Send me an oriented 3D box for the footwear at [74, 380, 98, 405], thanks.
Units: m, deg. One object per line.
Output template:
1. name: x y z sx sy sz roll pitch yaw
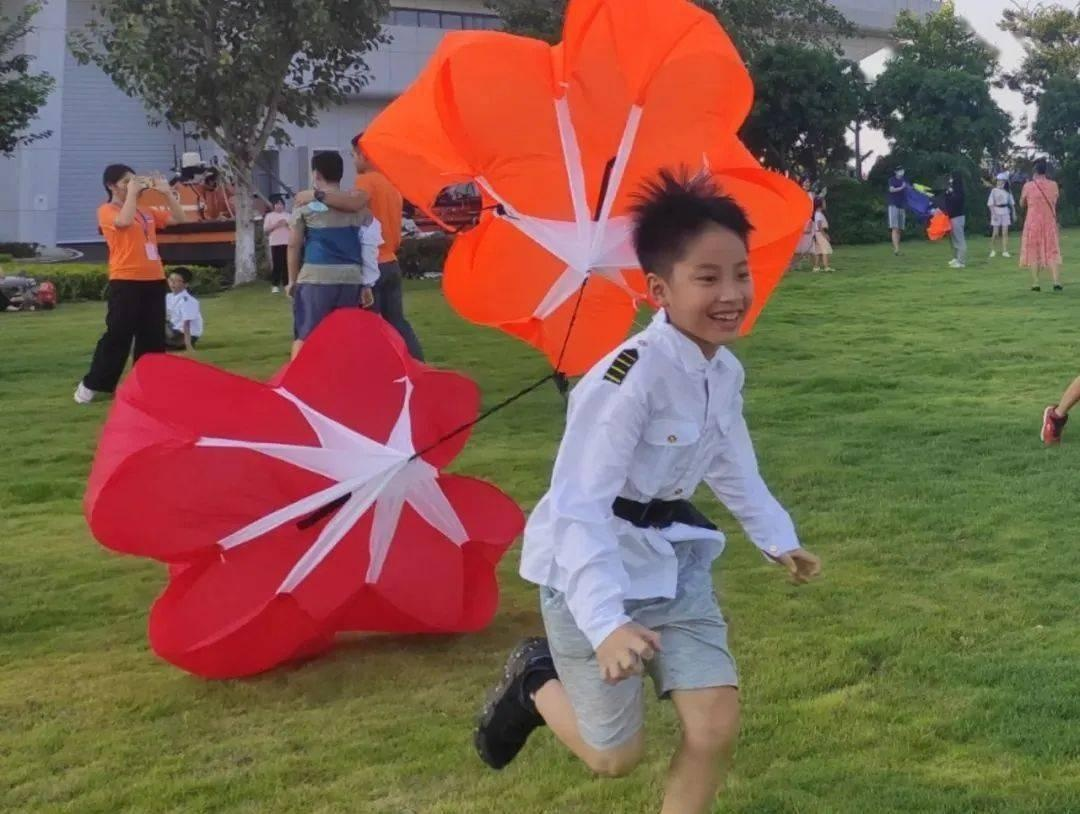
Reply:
1. footwear: -4.025 -0.154 8.842 0.151 0.138 0.324 -18 24 -20

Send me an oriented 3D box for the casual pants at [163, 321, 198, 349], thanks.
1. casual pants: -4.030 -0.759 11.099 0.348 0.316 0.138 28 19 -12

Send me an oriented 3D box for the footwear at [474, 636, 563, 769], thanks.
1. footwear: -0.035 0.947 3.163 0.152 0.393 0.233 18 19 -36

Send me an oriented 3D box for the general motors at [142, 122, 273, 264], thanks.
1. general motors: -7.240 -4.083 21.072 2.016 1.737 3.294 -1 4 -15

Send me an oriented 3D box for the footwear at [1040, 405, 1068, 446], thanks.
1. footwear: 3.375 0.105 6.637 0.117 0.360 0.150 2 21 1

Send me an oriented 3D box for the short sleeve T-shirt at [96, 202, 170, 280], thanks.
1. short sleeve T-shirt: -3.360 -1.390 8.309 0.368 0.654 0.612 5 15 28

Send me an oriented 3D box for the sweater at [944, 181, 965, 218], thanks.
1. sweater: 7.181 -3.633 17.295 0.252 0.685 0.554 2 14 18

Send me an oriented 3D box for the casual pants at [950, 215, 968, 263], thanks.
1. casual pants: 7.438 -3.001 17.796 0.257 0.878 0.527 3 15 21
